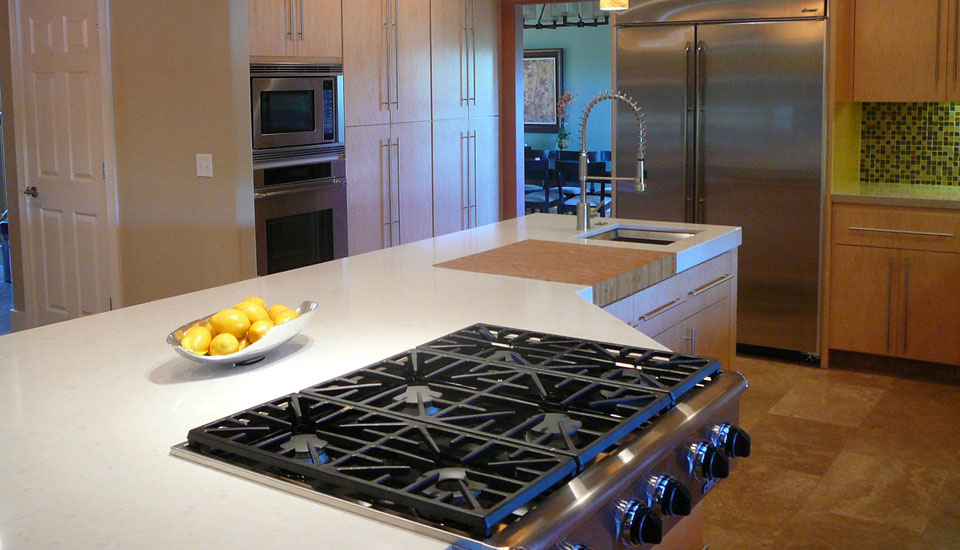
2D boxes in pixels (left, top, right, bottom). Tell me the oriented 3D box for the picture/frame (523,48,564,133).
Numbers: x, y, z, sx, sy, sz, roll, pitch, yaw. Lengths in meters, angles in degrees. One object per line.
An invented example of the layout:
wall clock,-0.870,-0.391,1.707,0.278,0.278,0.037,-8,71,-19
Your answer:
picture/frame,1.128,-3.370,12.100,0.735,1.431,0.605,1,18,16

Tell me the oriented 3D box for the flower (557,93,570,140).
flower,1.490,-2.846,11.810,0.251,0.763,0.502,-1,17,10

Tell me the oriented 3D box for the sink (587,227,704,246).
sink,0.999,-0.225,4.083,0.634,0.090,0.281,2,18,18

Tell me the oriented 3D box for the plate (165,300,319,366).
plate,-0.798,0.177,2.350,0.249,0.102,0.358,9,17,37

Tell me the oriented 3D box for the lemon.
lemon,-0.858,0.184,2.373,0.206,0.114,0.349,10,17,30

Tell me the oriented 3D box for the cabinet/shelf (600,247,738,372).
cabinet/shelf,0.925,0.146,3.319,0.417,0.482,0.740,6,12,41
